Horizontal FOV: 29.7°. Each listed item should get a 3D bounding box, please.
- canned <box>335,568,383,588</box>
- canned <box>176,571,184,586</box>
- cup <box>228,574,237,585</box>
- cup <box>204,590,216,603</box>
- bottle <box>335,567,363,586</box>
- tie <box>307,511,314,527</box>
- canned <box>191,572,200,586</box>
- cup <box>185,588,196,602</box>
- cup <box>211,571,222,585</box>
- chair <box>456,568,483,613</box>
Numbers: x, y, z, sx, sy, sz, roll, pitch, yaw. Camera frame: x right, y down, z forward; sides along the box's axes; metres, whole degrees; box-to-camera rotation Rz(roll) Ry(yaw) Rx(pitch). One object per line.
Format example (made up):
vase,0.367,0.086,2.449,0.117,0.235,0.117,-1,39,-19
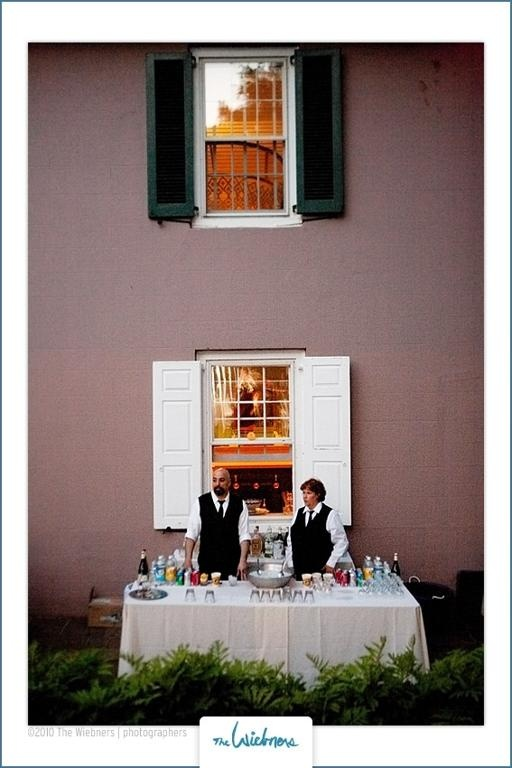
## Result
canned,0.615,1.217,5.954,0.169,0.076,0.135,2,-5,-2
canned,-0.470,1.223,5.995,0.038,0.086,0.075,1,-5,-1
cup,-0.146,1.239,6.015,0.040,0.054,0.049,1,-9,-1
cup,-0.269,1.247,5.606,0.054,0.069,0.055,0,-3,0
bottle,0.580,1.199,6.012,0.134,0.173,0.089,-1,2,-3
tie,0.363,0.903,6.417,0.016,0.087,0.038,17,-15,-28
canned,-0.374,1.214,5.933,0.066,0.125,0.067,0,-6,-3
cup,-0.377,1.248,5.652,0.047,0.065,0.059,1,-7,-5
cup,-0.250,1.218,5.987,0.050,0.072,0.060,0,-6,0
chair,1.671,1.640,7.568,0.202,0.301,0.212,-1,1,12
